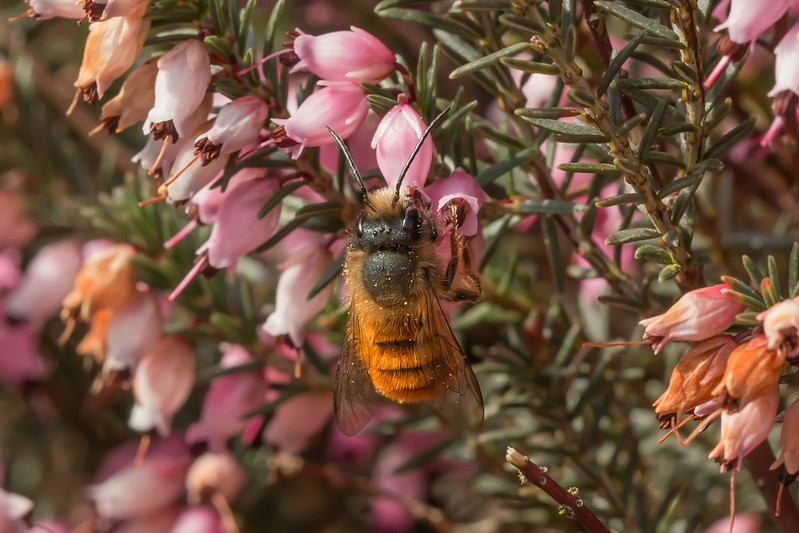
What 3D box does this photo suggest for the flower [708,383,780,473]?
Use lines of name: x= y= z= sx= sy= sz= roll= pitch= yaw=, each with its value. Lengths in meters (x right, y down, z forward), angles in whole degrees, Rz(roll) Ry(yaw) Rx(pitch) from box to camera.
flower: x=0.695 y=0.334 z=1.814 sx=0.178 sy=0.052 sz=0.131 roll=-50 pitch=53 yaw=10

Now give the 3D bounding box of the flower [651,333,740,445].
flower: x=0.580 y=0.242 z=1.790 sx=0.158 sy=0.059 sz=0.219 roll=40 pitch=97 yaw=15

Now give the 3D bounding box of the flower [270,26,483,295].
flower: x=-0.080 y=-0.266 z=1.967 sx=0.141 sy=0.453 sz=0.345 roll=-22 pitch=16 yaw=48

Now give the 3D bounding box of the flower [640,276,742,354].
flower: x=0.589 y=0.101 z=1.829 sx=0.204 sy=0.106 sz=0.084 roll=-29 pitch=25 yaw=12

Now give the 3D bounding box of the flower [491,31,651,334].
flower: x=0.441 y=-0.141 z=2.316 sx=0.487 sy=0.737 sz=0.207 roll=-14 pitch=13 yaw=-2
